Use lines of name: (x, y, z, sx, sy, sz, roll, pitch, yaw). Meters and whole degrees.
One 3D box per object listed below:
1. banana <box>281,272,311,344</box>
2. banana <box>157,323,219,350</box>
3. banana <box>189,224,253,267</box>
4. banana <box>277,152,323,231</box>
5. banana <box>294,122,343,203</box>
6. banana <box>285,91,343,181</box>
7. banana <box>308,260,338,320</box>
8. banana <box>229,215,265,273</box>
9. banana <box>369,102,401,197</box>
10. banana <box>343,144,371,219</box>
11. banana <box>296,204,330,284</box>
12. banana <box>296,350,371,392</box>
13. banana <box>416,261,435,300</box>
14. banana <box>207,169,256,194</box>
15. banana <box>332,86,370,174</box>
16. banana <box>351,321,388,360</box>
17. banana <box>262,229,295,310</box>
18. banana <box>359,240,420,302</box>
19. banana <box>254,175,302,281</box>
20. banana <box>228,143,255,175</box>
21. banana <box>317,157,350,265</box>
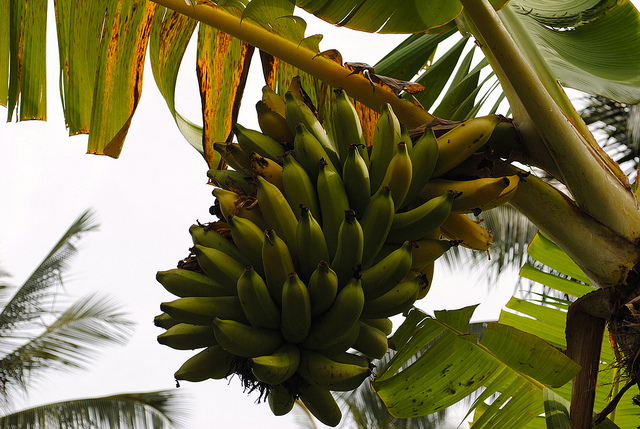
banana: (-0.122, 0.488, 4.076, 0.110, 0.413, 0.131, -5, 8, -9)
banana: (-0.708, 0.665, 4.237, 0.313, 0.117, 0.083, -8, 1, -32)
banana: (-0.522, 0.171, 4.167, 0.096, 0.335, 0.121, -51, -11, -2)
banana: (-0.106, -0.143, 4.282, 0.130, 0.526, 0.177, -23, -8, 4)
banana: (-0.055, -0.346, 4.348, 0.139, 0.520, 0.167, -25, -2, 12)
banana: (-0.036, -0.433, 4.376, 0.144, 0.588, 0.190, -31, -5, 15)
banana: (0.011, 0.389, 4.091, 0.099, 0.333, 0.108, 26, 32, 21)
banana: (-0.383, 0.125, 4.240, 0.108, 0.361, 0.124, -32, 3, 5)
banana: (0.367, -0.364, 4.386, 0.137, 0.575, 0.188, 3, -7, 38)
banana: (0.221, -0.175, 4.277, 0.110, 0.468, 0.155, -1, 10, 25)
banana: (-0.050, 0.155, 4.115, 0.112, 0.476, 0.164, -6, 15, 6)
banana: (0.050, 0.824, 4.142, 0.441, 0.166, 0.120, 23, -1, -18)
banana: (0.625, 0.376, 4.473, 0.053, 0.186, 0.231, 9, -46, 8)
banana: (-0.472, -0.183, 4.286, 0.305, 0.092, 0.118, 12, 37, 3)
banana: (0.165, -0.503, 4.402, 0.128, 0.583, 0.199, -13, 5, 25)
banana: (0.286, 0.694, 4.342, 0.160, 0.117, 0.332, -3, -23, 43)
banana: (-0.240, 0.268, 4.170, 0.116, 0.441, 0.145, -11, 3, -8)
banana: (0.371, 0.309, 4.179, 0.349, 0.162, 0.131, -27, -28, 5)
banana: (-0.215, 0.085, 4.167, 0.112, 0.521, 0.177, -27, -3, 17)
banana: (-0.499, -0.327, 4.554, 0.099, 0.117, 0.330, -30, -4, -14)
banana: (0.130, -0.046, 4.201, 0.127, 0.619, 0.207, -10, -5, 19)
